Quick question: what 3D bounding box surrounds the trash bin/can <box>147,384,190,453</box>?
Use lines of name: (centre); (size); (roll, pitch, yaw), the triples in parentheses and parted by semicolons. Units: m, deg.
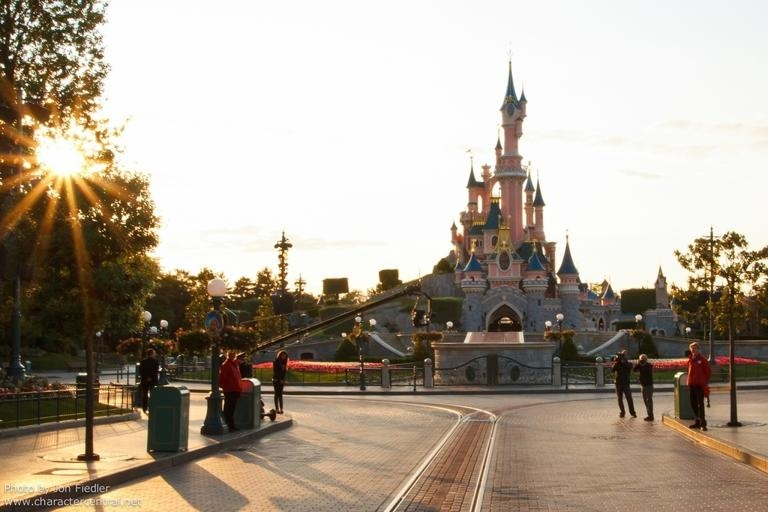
trash bin/can: (-5.664, 4.272, 24.364); (1.029, 1.725, 0.638); (0, -2, -15)
